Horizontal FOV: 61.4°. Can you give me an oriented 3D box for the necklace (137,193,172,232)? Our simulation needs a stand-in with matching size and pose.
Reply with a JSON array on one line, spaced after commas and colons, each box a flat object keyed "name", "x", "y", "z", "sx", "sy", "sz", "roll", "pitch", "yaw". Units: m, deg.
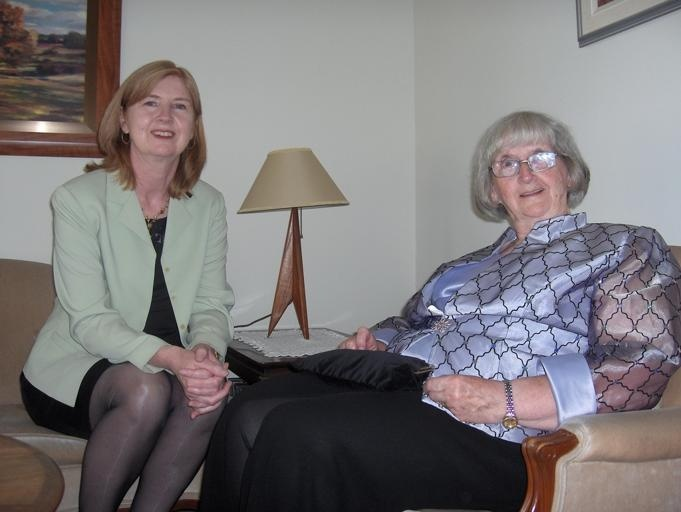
[{"name": "necklace", "x": -0.621, "y": -0.136, "z": 1.935, "sx": 0.041, "sy": 0.046, "sz": 0.175, "roll": 29, "pitch": -18, "yaw": -29}]

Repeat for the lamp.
[{"name": "lamp", "x": -0.212, "y": -0.054, "z": 2.524, "sx": 0.484, "sy": 0.793, "sz": 0.461, "roll": 0, "pitch": 3, "yaw": -19}]
